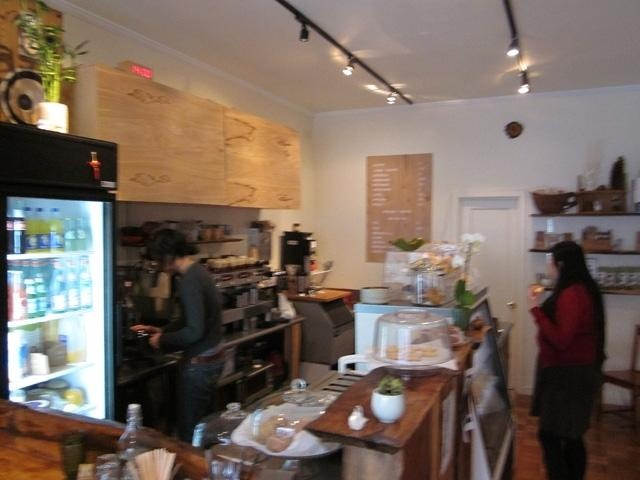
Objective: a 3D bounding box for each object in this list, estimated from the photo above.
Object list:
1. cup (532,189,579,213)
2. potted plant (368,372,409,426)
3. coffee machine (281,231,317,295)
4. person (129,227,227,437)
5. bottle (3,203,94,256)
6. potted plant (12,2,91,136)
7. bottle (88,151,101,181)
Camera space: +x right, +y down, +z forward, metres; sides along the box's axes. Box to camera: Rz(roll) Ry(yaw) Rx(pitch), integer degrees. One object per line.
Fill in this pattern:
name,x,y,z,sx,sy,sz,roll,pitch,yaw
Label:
cup,2.495,-0.404,5.145,0.350,0.161,0.296,4,2,29
potted plant,0.233,0.611,1.873,0.167,0.177,0.152,1,1,-26
coffee machine,-0.264,0.226,5.643,0.400,0.719,0.436,0,3,23
person,-0.936,0.649,3.395,0.413,1.455,0.497,-5,4,-39
bottle,-1.528,-0.078,2.718,0.082,0.303,0.451,0,3,34
potted plant,-1.549,-0.984,2.886,0.321,0.789,0.704,-2,3,-7
bottle,-1.273,-0.419,2.732,0.020,0.169,0.069,0,4,25
